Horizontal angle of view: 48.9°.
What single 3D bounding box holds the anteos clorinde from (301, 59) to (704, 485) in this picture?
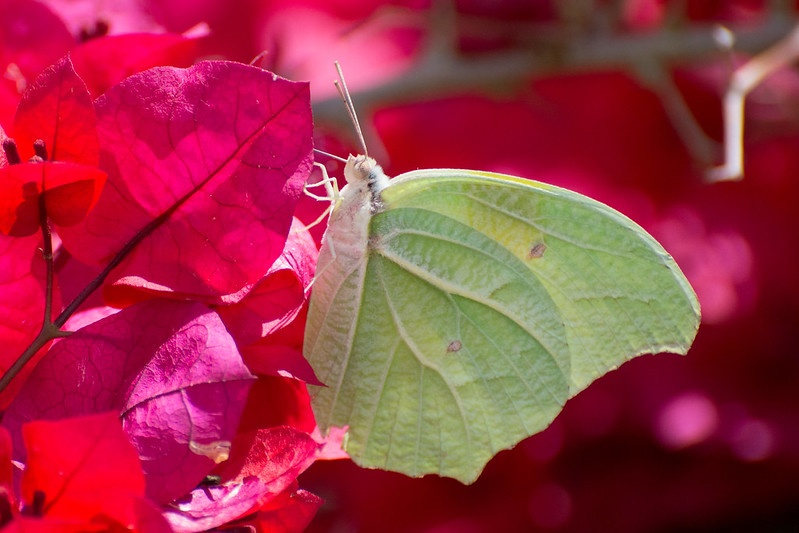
[{"bbox_3d":[0.012,0.050,0.881,0.370,0.247,0.352,-25,61,-39],"label":"anteos clorinde"}]
